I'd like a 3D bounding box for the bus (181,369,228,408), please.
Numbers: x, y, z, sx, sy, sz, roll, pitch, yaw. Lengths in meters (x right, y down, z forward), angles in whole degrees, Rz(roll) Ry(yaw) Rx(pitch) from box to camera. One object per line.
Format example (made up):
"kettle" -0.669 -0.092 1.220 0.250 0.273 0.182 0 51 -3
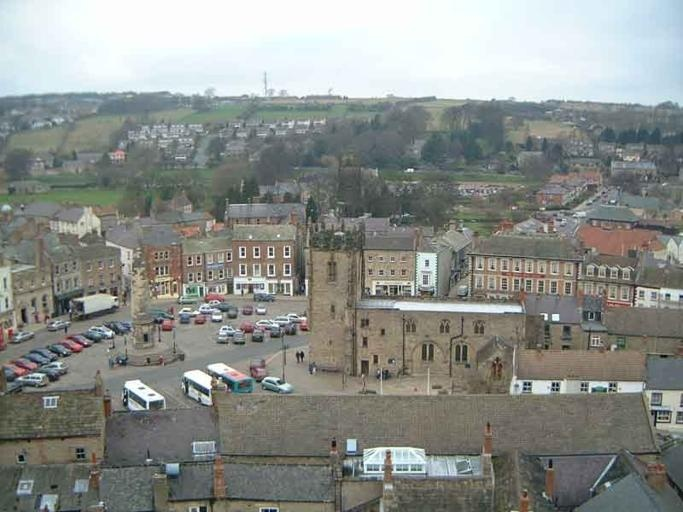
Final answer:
"bus" -12.859 12.267 106.827 2.117 2.212 5.743 6 19 -31

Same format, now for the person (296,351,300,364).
"person" -4.301 10.053 115.677 0.339 1.082 1.143 -8 17 -13

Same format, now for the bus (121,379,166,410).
"bus" -17.782 13.090 103.730 1.891 2.163 5.417 -17 22 -36

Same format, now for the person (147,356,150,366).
"person" -19.087 10.518 115.106 0.455 0.818 0.496 0 0 16

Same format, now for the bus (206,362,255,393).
"bus" -10.716 11.817 108.058 1.868 1.884 5.468 -1 12 -35

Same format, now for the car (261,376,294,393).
"car" -5.929 12.180 108.425 2.494 1.064 1.312 5 10 39
